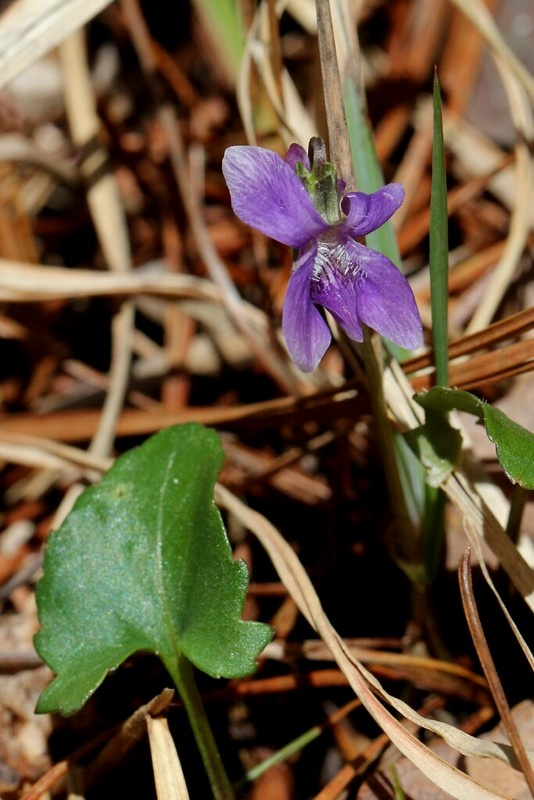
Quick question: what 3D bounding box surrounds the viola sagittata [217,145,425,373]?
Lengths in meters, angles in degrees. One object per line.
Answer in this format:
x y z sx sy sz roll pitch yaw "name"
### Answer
0.033 -0.145 0.948 0.256 0.281 0.107 -26 18 -39 "viola sagittata"
